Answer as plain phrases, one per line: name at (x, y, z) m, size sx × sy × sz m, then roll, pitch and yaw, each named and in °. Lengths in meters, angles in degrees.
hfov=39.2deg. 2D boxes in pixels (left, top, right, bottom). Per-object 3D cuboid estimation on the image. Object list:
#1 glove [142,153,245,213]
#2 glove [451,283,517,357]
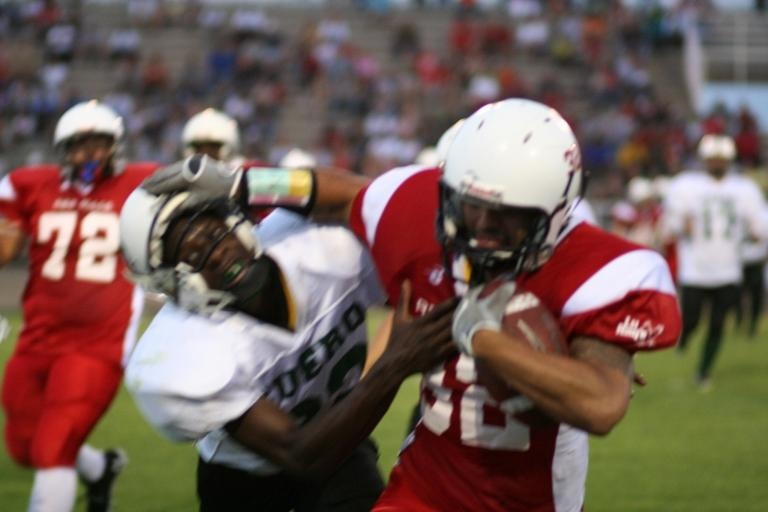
glove at (-1.147, -0.484, 6.513) m, size 0.476 × 0.239 × 0.323 m, roll -14°, pitch 29°, yaw -15°
glove at (0.543, 0.321, 6.141) m, size 0.320 × 0.417 × 0.125 m, roll 39°, pitch 6°, yaw 40°
